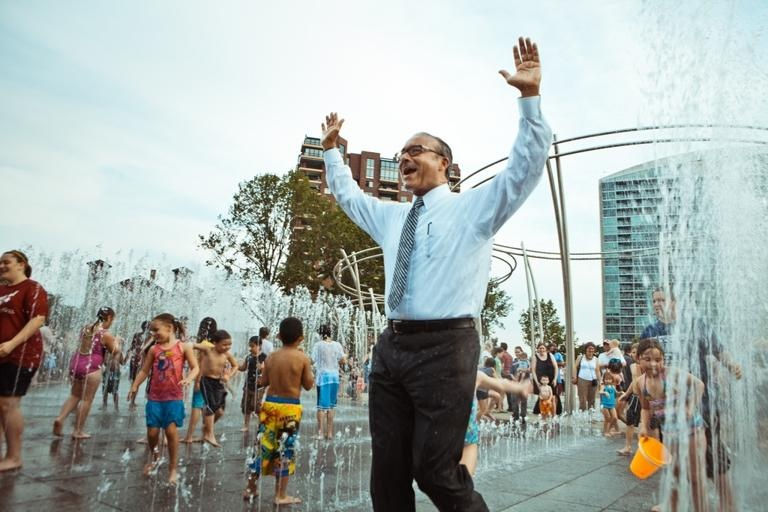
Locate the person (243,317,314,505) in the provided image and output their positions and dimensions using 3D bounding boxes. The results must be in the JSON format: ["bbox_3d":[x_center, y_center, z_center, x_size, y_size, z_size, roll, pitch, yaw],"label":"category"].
[{"bbox_3d":[-1.299,1.888,5.929,0.717,2.203,0.551,4,-10,-8],"label":"person"}]

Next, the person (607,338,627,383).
[{"bbox_3d":[6.023,2.767,12.105,0.290,0.345,0.928,-8,19,22],"label":"person"}]

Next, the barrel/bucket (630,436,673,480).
[{"bbox_3d":[2.836,2.152,4.970,0.335,0.400,0.258,-4,-13,32],"label":"barrel/bucket"}]

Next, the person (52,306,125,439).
[{"bbox_3d":[-5.530,2.112,8.802,0.808,2.316,1.460,8,-12,-27],"label":"person"}]

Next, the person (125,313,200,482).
[{"bbox_3d":[-3.020,1.899,6.555,1.048,2.154,0.763,0,-11,17],"label":"person"}]
